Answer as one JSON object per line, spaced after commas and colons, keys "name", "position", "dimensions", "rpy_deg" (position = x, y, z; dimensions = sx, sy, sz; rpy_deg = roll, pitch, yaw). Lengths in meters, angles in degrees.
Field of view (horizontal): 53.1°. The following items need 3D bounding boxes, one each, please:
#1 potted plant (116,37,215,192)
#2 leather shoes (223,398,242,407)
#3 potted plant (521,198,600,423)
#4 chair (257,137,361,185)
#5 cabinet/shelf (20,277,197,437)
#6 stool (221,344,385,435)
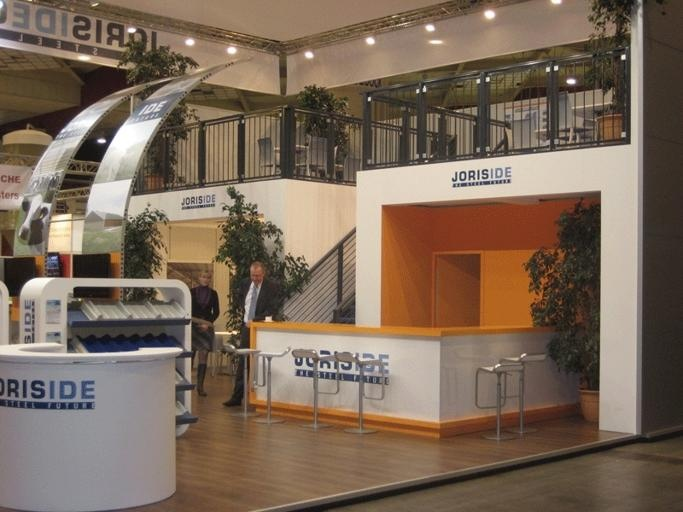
{"name": "potted plant", "position": [-4.004, -3.162, 14.960], "dimensions": [1.543, 3.225, 1.602], "rpy_deg": [1, -1, -9]}
{"name": "leather shoes", "position": [-1.624, 2.181, 10.216], "dimensions": [0.251, 0.126, 0.117], "rpy_deg": [7, -7, -32]}
{"name": "potted plant", "position": [3.133, 0.537, 9.484], "dimensions": [1.069, 2.558, 0.665], "rpy_deg": [0, -1, 43]}
{"name": "chair", "position": [-0.667, -1.811, 13.139], "dimensions": [1.224, 0.623, 0.653], "rpy_deg": [2, 0, -44]}
{"name": "cabinet/shelf", "position": [-2.158, 0.921, 6.274], "dimensions": [1.575, 1.656, 0.509], "rpy_deg": [1, -1, -37]}
{"name": "stool", "position": [-0.407, 1.718, 8.973], "dimensions": [2.099, 0.878, 0.743], "rpy_deg": [1, -1, 33]}
